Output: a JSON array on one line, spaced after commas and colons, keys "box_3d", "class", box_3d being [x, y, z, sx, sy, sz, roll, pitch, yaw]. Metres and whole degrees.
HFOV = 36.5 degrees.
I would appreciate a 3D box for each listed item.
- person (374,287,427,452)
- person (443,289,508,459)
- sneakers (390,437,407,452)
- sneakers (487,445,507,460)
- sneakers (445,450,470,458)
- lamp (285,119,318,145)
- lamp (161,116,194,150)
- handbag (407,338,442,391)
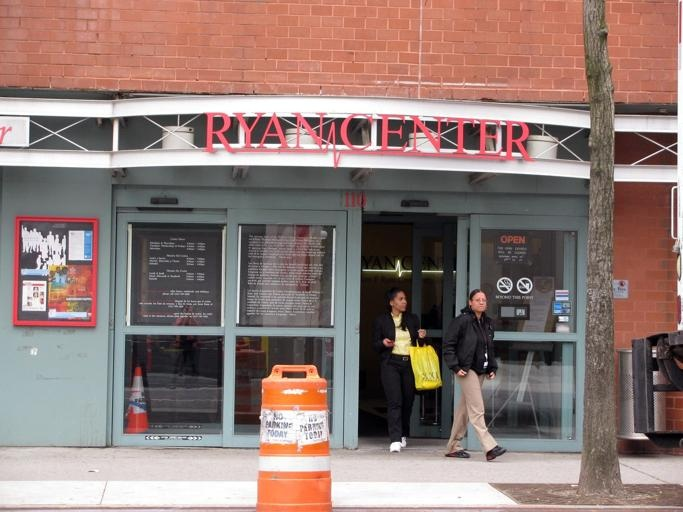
[{"box_3d": [0.776, 1.506, 13.910, 0.604, 2.163, 0.310, 1, -4, -17], "class": "person"}, {"box_3d": [1.695, 1.524, 13.396, 0.719, 2.179, 0.477, -1, -4, 5], "class": "person"}, {"box_3d": [0.748, 2.512, 13.827, 0.110, 0.123, 0.308, -3, -9, 15], "class": "sneakers"}, {"box_3d": [1.982, 2.509, 13.305, 0.237, 0.196, 0.372, -1, -4, 7], "class": "sneakers"}, {"box_3d": [1.523, 2.568, 13.562, 0.301, 0.120, 0.112, -3, -5, 18], "class": "sneakers"}, {"box_3d": [-0.511, -1.547, 13.093, 0.381, 0.232, 0.378, 2, -3, -37], "class": "lamp"}, {"box_3d": [-2.124, -1.625, 13.474, 0.408, 0.478, 0.413, 0, -4, -9], "class": "lamp"}, {"box_3d": [1.110, 1.448, 13.716, 0.400, 0.558, 0.229, -1, -4, 2], "class": "handbag"}]
